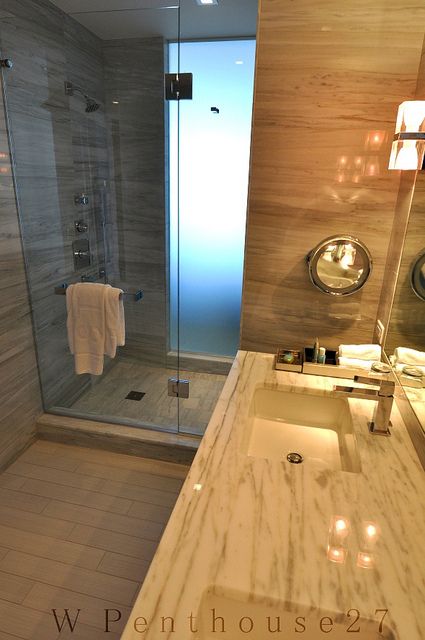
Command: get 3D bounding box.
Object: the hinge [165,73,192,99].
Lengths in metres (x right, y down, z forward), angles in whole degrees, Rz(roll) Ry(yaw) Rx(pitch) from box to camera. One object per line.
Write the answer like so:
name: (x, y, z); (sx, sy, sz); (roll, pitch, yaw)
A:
hinge: (-0.161, -1.060, 2.057); (0.107, 0.092, 0.035); (2, 34, 4)

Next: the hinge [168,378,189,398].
hinge: (-0.190, 0.371, 2.514); (0.105, 0.092, 0.034); (2, 24, 8)

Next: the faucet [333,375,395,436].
faucet: (0.467, 0.267, 1.450); (0.211, 0.194, 0.084); (-1, 19, -7)

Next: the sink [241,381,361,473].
sink: (0.298, 0.378, 1.599); (0.366, 0.164, 0.439); (6, 20, 11)

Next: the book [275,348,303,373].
book: (0.329, 0.175, 1.949); (0.093, 0.030, 0.103); (5, 27, 13)
